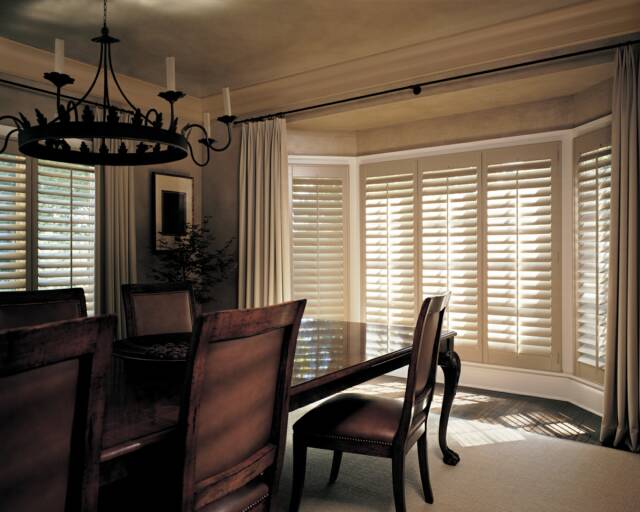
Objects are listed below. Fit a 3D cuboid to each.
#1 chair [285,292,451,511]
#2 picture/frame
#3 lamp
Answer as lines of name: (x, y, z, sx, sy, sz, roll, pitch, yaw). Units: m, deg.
chair: (0.277, 0.756, 3.237, 0.991, 1.549, 0.893, 0, -7, 22)
picture/frame: (-1.404, -0.422, 5.101, 0.178, 0.726, 0.574, 1, 5, 17)
lamp: (-1.453, -1.244, 3.706, 0.978, 1.164, 1.046, -1, -5, -2)
